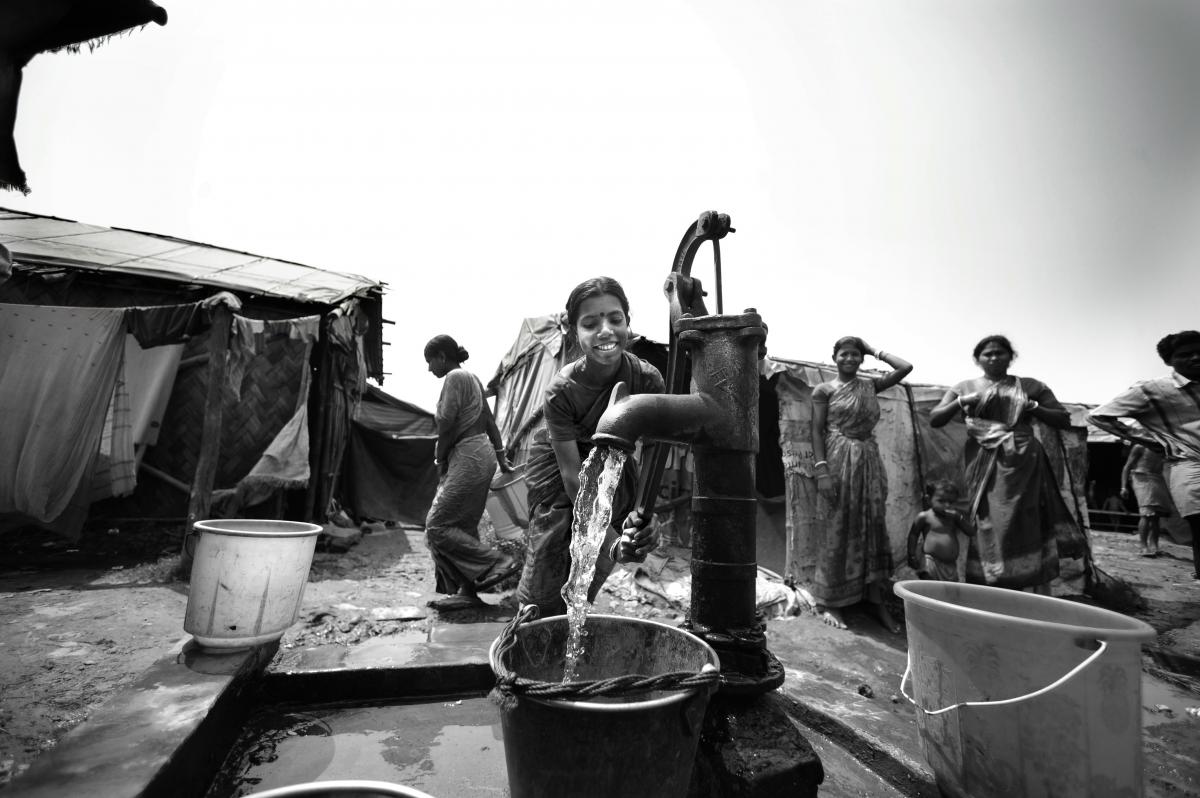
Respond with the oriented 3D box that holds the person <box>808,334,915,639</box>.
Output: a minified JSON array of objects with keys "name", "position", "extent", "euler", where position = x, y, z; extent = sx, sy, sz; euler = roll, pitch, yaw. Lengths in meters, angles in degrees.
[{"name":"person","position":[2.703,0.866,7.215],"extent":[0.937,2.905,0.682],"euler":[8,-11,-20]}]

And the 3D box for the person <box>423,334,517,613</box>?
[{"name":"person","position":[-1.201,0.819,6.724],"extent":[0.887,2.311,0.688],"euler":[7,-11,-13]}]

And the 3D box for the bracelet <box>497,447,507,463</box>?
[{"name":"bracelet","position":[-1.101,0.628,7.745],"extent":[0.096,0.106,0.358],"euler":[-16,-6,-9]}]

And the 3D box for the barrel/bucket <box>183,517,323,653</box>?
[{"name":"barrel/bucket","position":[-2.356,1.296,4.914],"extent":[0.919,0.753,0.801],"euler":[13,-17,-27]}]

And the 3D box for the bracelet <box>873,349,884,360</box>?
[{"name":"bracelet","position":[2.955,-0.475,7.331],"extent":[0.084,0.078,0.085],"euler":[8,-7,-29]}]

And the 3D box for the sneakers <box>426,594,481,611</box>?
[{"name":"sneakers","position":[-1.306,1.850,6.325],"extent":[0.494,0.143,0.227],"euler":[6,-11,-12]}]

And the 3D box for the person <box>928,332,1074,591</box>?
[{"name":"person","position":[4.013,0.668,6.680],"extent":[1.542,2.326,0.956],"euler":[11,-12,-32]}]

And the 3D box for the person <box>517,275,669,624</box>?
[{"name":"person","position":[-0.033,0.328,4.492],"extent":[0.649,2.161,1.564],"euler":[8,-11,-19]}]
